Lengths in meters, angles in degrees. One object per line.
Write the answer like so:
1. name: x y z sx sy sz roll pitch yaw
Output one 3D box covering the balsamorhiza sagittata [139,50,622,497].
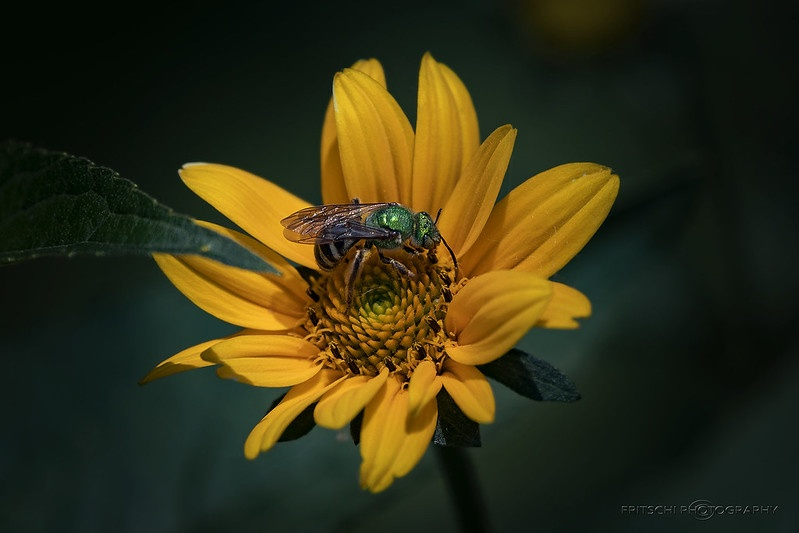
1. balsamorhiza sagittata: 0.031 0.041 2.687 1.258 0.572 1.404 -6 61 11
